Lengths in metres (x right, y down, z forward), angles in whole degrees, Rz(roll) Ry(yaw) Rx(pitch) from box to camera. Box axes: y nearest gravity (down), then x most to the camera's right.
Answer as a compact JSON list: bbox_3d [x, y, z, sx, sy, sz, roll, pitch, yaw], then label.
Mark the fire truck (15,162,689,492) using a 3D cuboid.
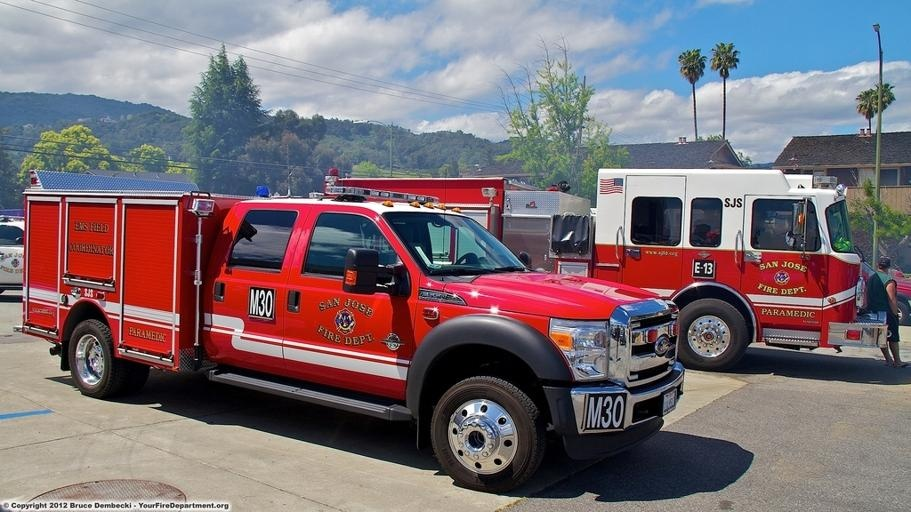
[{"bbox_3d":[-2.256,0.782,11.297,10.353,3.404,4.237,2,4,31],"label":"fire truck"}]
